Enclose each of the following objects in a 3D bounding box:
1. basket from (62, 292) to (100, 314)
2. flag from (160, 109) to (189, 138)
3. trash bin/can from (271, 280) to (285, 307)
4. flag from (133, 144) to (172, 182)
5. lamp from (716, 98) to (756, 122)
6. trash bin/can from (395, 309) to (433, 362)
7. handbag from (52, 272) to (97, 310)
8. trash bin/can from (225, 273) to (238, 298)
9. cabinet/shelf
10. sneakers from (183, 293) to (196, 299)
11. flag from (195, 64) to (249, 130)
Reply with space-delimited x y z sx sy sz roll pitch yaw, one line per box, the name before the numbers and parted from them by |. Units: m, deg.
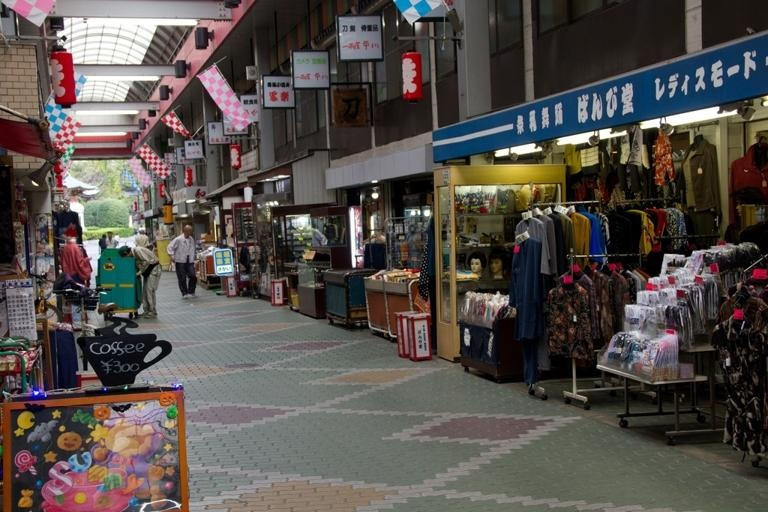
basket | -4.959 0.734 9.885 0.466 0.374 0.580 -3 4 -22
flag | -10.503 -6.834 30.553 0.890 1.490 2.710 -3 4 -14
trash bin/can | -2.969 1.045 17.259 0.473 0.743 0.344 -4 4 -33
flag | -13.371 -5.588 35.968 0.202 2.282 3.637 36 14 14
lamp | 3.644 -1.458 6.253 0.261 0.134 0.365 -4 1 -37
trash bin/can | 0.551 1.344 10.052 0.481 0.722 0.604 -3 3 -21
handbag | -5.066 0.603 9.900 0.728 0.367 0.720 4 0 -37
trash bin/can | -5.119 0.991 20.354 0.378 0.734 0.688 -3 3 -18
cabinet/shelf | 1.726 0.059 9.176 1.586 2.802 0.820 -1 4 -8
sneakers | -6.430 1.357 19.996 0.219 0.162 0.484 -2 -3 -14
flag | -5.190 -5.273 19.720 1.220 2.021 1.833 -2 3 7
